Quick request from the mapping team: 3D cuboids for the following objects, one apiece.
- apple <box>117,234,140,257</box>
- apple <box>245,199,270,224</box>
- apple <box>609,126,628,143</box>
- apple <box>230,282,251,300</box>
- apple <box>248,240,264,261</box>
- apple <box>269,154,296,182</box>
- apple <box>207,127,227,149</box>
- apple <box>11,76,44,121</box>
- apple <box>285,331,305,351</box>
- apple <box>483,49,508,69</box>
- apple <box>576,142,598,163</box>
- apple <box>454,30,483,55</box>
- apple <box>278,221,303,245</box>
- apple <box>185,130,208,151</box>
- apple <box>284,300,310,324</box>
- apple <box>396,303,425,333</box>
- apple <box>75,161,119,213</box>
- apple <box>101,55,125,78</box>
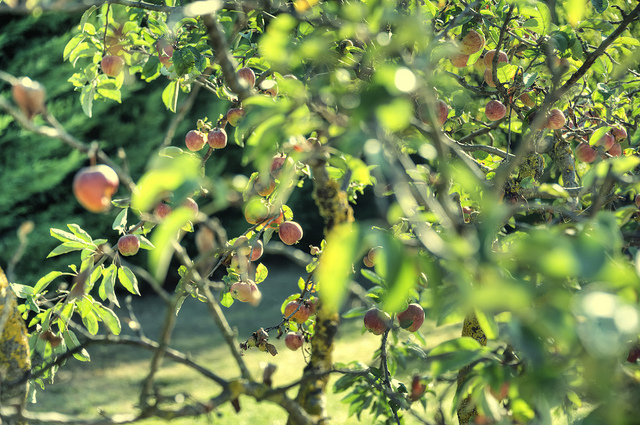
[{"bbox_3d":[-0.830,0.142,3.238,0.085,0.095,0.086,2,-24,-32],"label":"apple"},{"bbox_3d":[-0.253,0.002,3.001,0.101,0.120,0.086,1,-35,1],"label":"apple"},{"bbox_3d":[1.407,-0.363,3.535,0.067,0.049,0.085,-2,-11,1],"label":"apple"},{"bbox_3d":[-0.354,0.340,3.299,0.097,0.077,0.049,1,-28,23],"label":"apple"},{"bbox_3d":[-0.283,0.182,3.326,0.073,0.095,0.077,6,23,3],"label":"apple"},{"bbox_3d":[-0.167,-0.181,3.098,0.100,0.135,0.072,2,-16,-15],"label":"apple"},{"bbox_3d":[-0.454,-0.335,3.395,0.083,0.110,0.088,0,5,2],"label":"apple"},{"bbox_3d":[-0.971,-0.376,2.493,0.096,0.145,0.091,23,24,27],"label":"apple"},{"bbox_3d":[-0.112,0.610,3.609,0.076,0.084,0.094,21,-25,18],"label":"apple"},{"bbox_3d":[0.829,-0.725,3.546,0.102,0.060,0.106,-7,-10,2],"label":"apple"},{"bbox_3d":[1.242,-0.275,3.505,0.076,0.083,0.097,-12,-38,8],"label":"apple"},{"bbox_3d":[0.676,-0.773,3.422,0.128,0.123,0.081,10,-26,7],"label":"apple"},{"bbox_3d":[-0.133,0.090,3.413,0.098,0.122,0.101,-24,-5,7],"label":"apple"},{"bbox_3d":[-0.567,-0.320,3.420,0.084,0.095,0.086,20,-7,-13],"label":"apple"},{"bbox_3d":[-0.109,0.452,3.511,0.093,0.097,0.096,13,26,22],"label":"apple"},{"bbox_3d":[0.415,0.467,3.421,0.120,0.156,0.127,0,7,3],"label":"apple"},{"bbox_3d":[-0.766,-0.096,2.565,0.133,0.169,0.133,26,-29,-24],"label":"apple"},{"bbox_3d":[-0.955,-0.672,3.471,0.092,0.104,0.097,-1,-5,-2],"label":"apple"}]
